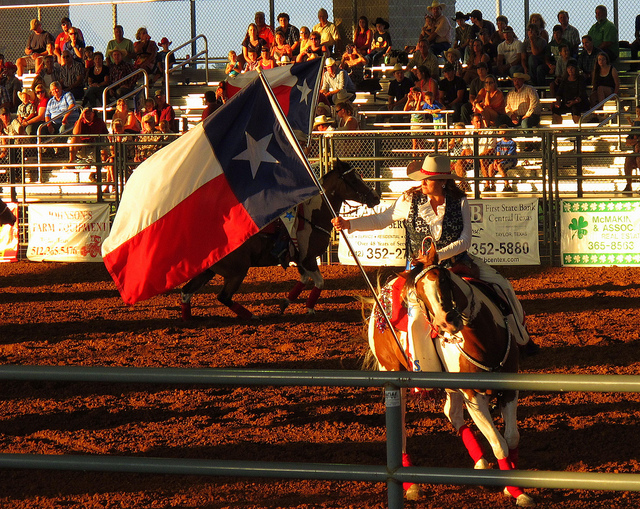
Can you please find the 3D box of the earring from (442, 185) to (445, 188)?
[{"bbox_3d":[1.415,-0.772,13.870,0.034,0.036,0.008,-1,-7,2],"label":"earring"}]

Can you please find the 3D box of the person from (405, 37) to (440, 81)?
[{"bbox_3d":[2.282,-4.216,26.496,0.518,0.892,0.948,-5,7,-41],"label":"person"}]

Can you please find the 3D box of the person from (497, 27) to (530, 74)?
[{"bbox_3d":[4.346,-4.521,27.223,0.723,1.034,0.811,1,5,14],"label":"person"}]

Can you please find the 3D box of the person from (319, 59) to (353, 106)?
[{"bbox_3d":[0.288,-3.596,25.645,0.566,0.988,0.992,2,19,37],"label":"person"}]

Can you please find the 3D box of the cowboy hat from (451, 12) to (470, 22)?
[{"bbox_3d":[3.317,-5.538,28.477,0.486,0.202,0.449,0,7,33],"label":"cowboy hat"}]

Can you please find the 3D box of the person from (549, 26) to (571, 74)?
[{"bbox_3d":[5.371,-4.528,27.081,0.454,1.014,1.527,0,6,11],"label":"person"}]

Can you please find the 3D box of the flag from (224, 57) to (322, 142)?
[{"bbox_3d":[-0.724,-1.881,15.387,0.940,1.137,1.180,10,13,38],"label":"flag"}]

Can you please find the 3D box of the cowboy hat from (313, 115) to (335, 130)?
[{"bbox_3d":[0.086,-2.531,23.075,0.330,0.122,0.371,-20,8,43],"label":"cowboy hat"}]

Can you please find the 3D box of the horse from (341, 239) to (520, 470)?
[{"bbox_3d":[1.402,1.070,13.449,1.550,2.530,1.283,3,6,37],"label":"horse"}]

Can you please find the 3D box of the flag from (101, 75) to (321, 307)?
[{"bbox_3d":[-1.472,-0.743,14.359,2.740,2.679,0.325,-8,24,5],"label":"flag"}]

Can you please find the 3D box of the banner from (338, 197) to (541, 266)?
[{"bbox_3d":[2.054,-0.393,21.564,3.542,1.433,0.096,0,28,8],"label":"banner"}]

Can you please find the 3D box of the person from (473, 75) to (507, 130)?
[{"bbox_3d":[3.422,-3.058,24.476,0.630,0.965,0.526,0,5,7],"label":"person"}]

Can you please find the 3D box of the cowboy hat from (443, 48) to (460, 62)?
[{"bbox_3d":[2.931,-4.362,26.728,0.317,0.300,0.627,0,6,5],"label":"cowboy hat"}]

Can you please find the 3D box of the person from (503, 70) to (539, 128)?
[{"bbox_3d":[4.063,-3.018,24.727,0.813,1.321,0.752,0,5,34],"label":"person"}]

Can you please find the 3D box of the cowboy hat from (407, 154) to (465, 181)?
[{"bbox_3d":[1.286,-0.970,13.859,0.395,0.168,0.366,3,9,-10],"label":"cowboy hat"}]

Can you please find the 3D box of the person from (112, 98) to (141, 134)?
[{"bbox_3d":[-4.167,-2.937,26.063,0.572,0.681,1.142,-2,6,-11],"label":"person"}]

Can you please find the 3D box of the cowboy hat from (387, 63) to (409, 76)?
[{"bbox_3d":[1.748,-4.044,26.759,0.451,0.192,0.526,-3,-7,0],"label":"cowboy hat"}]

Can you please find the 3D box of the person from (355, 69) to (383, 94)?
[{"bbox_3d":[1.121,-3.768,27.386,0.509,0.364,0.719,-4,7,-30],"label":"person"}]

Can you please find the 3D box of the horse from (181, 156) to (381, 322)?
[{"bbox_3d":[-0.661,-0.025,18.815,3.252,2.314,0.760,-13,23,-22],"label":"horse"}]
